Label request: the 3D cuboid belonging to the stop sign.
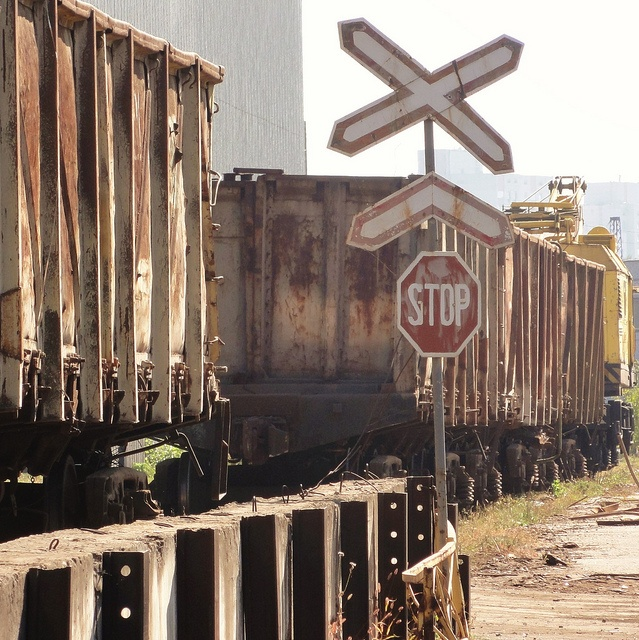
[{"bbox_3d":[0.855,-0.107,13.296,0.592,0.898,0.083,1,-36,4],"label":"stop sign"}]
